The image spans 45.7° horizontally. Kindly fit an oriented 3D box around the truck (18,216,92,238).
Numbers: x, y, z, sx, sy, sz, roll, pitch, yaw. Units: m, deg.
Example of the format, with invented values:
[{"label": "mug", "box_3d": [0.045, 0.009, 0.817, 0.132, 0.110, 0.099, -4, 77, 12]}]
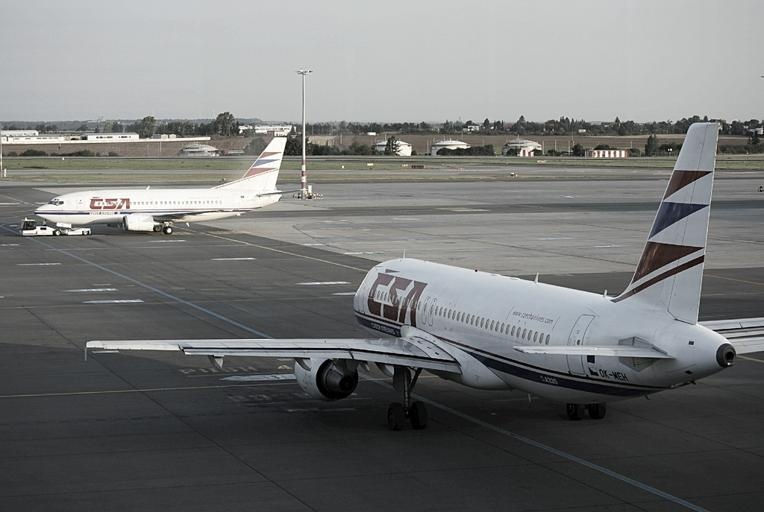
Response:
[{"label": "truck", "box_3d": [-30.466, -2.398, 83.754, 6.078, 1.092, 2.759, 0, 3, -10]}]
